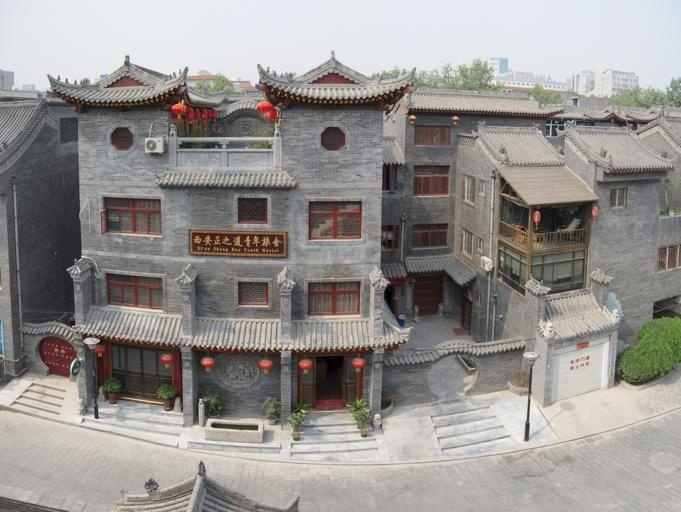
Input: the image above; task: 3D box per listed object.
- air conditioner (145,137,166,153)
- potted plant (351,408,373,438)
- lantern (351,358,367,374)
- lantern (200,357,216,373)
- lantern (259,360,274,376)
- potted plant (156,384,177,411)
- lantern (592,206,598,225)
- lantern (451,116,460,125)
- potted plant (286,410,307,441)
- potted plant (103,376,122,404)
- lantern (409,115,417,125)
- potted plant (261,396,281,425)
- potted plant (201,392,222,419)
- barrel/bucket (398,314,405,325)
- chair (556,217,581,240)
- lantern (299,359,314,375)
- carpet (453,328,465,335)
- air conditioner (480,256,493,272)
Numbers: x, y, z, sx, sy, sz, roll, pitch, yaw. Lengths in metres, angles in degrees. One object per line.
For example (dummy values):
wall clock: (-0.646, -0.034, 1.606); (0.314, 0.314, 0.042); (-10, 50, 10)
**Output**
air conditioner: (-8.295, -4.900, 32.957); (0.996, 0.876, 0.626); (1, 5, 6)
potted plant: (0.988, 7.661, 33.903); (0.812, 1.304, 0.619); (-3, -6, -10)
lantern: (0.822, 5.076, 33.773); (0.688, 0.748, 0.701); (4, 7, 32)
lantern: (-6.112, 4.979, 33.693); (0.670, 0.674, 1.185); (-2, -6, -12)
lantern: (-3.470, 5.090, 33.603); (0.664, 0.670, 0.668); (-1, 11, 3)
potted plant: (-8.197, 6.711, 34.679); (0.689, 1.218, 0.780); (-6, -6, 27)
lantern: (13.041, -2.124, 37.740); (0.323, 0.925, 0.535); (-7, -7, 32)
lantern: (6.729, -7.914, 43.122); (0.438, 0.414, 0.447); (4, 8, 43)
potted plant: (-2.166, 7.674, 33.375); (1.104, 1.564, 1.092); (1, -2, 1)
potted plant: (-10.977, 6.442, 35.227); (0.871, 1.252, 0.744); (-2, -6, -13)
lantern: (4.164, -7.852, 42.541); (0.556, 0.496, 0.370); (-2, -6, -12)
potted plant: (-3.221, 7.174, 34.136); (0.837, 1.328, 0.670); (-4, -6, 5)
potted plant: (-5.967, 6.950, 34.299); (0.872, 1.113, 0.590); (-3, -6, -9)
barrel/bucket: (3.546, 3.759, 42.877); (0.513, 0.573, 0.934); (-2, -14, 5)
chair: (11.859, -1.396, 37.876); (0.836, 1.157, 1.556); (-7, -6, 29)
lantern: (-1.611, 5.054, 33.622); (0.726, 0.717, 0.701); (-8, 21, -23)
carpet: (6.836, 4.379, 42.538); (0.648, 0.425, 1.022); (-5, -6, 10)
air conditioner: (7.903, 0.424, 39.828); (0.289, 0.756, 0.808); (0, 4, -19)
